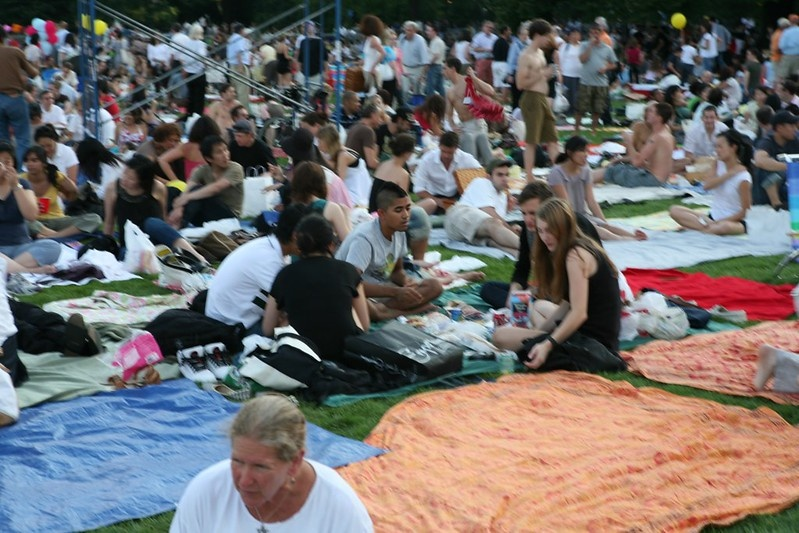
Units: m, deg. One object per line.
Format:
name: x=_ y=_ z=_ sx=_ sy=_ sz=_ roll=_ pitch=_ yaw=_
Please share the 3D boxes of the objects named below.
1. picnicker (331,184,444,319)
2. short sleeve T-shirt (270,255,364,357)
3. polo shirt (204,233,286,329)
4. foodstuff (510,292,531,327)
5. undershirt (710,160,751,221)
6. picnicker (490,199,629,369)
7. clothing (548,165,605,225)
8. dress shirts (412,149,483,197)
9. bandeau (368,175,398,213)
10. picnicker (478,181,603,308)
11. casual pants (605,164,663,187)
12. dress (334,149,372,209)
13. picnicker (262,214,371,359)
picnicker: x=-0.142 y=-0.142 z=7.826 sx=1.131 sy=1.497 sz=1.131 roll=13 pitch=19 yaw=33
short sleeve T-shirt: x=-0.758 y=0.397 z=6.539 sx=0.821 sy=0.947 sz=0.286 roll=-2 pitch=13 yaw=-9
polo shirt: x=-1.536 y=0.209 z=7.252 sx=0.655 sy=1.125 sz=1.127 roll=12 pitch=-18 yaw=-24
foodstuff: x=1.271 y=0.463 z=7.337 sx=0.263 sy=0.423 sz=0.237 roll=-3 pitch=-12 yaw=10
undershirt: x=5.009 y=-1.100 z=10.604 sx=0.460 sy=0.816 sz=0.817 roll=-4 pitch=11 yaw=-25
picnicker: x=1.525 y=0.137 z=6.976 sx=1.183 sy=1.515 sz=1.239 roll=-14 pitch=21 yaw=-33
clothing: x=2.630 y=-1.065 z=10.452 sx=0.616 sy=0.819 sz=0.517 roll=-5 pitch=8 yaw=38
dress shirts: x=0.859 y=-1.502 z=11.618 sx=1.232 sy=0.919 sz=0.628 roll=-6 pitch=23 yaw=-1
bandeau: x=-0.273 y=-1.014 z=10.129 sx=0.511 sy=0.506 sz=0.659 roll=2 pitch=5 yaw=1
picnicker: x=1.446 y=-0.221 z=7.786 sx=1.172 sy=1.164 sz=1.092 roll=-7 pitch=3 yaw=41
casual pants: x=4.438 y=-1.695 z=13.466 sx=0.732 sy=0.321 sz=0.573 roll=9 pitch=13 yaw=33
dress: x=-0.729 y=-1.408 z=11.588 sx=0.595 sy=1.002 sz=0.915 roll=12 pitch=16 yaw=13
picnicker: x=-0.830 y=0.380 z=6.943 sx=1.075 sy=1.725 sz=1.147 roll=-3 pitch=10 yaw=-21
